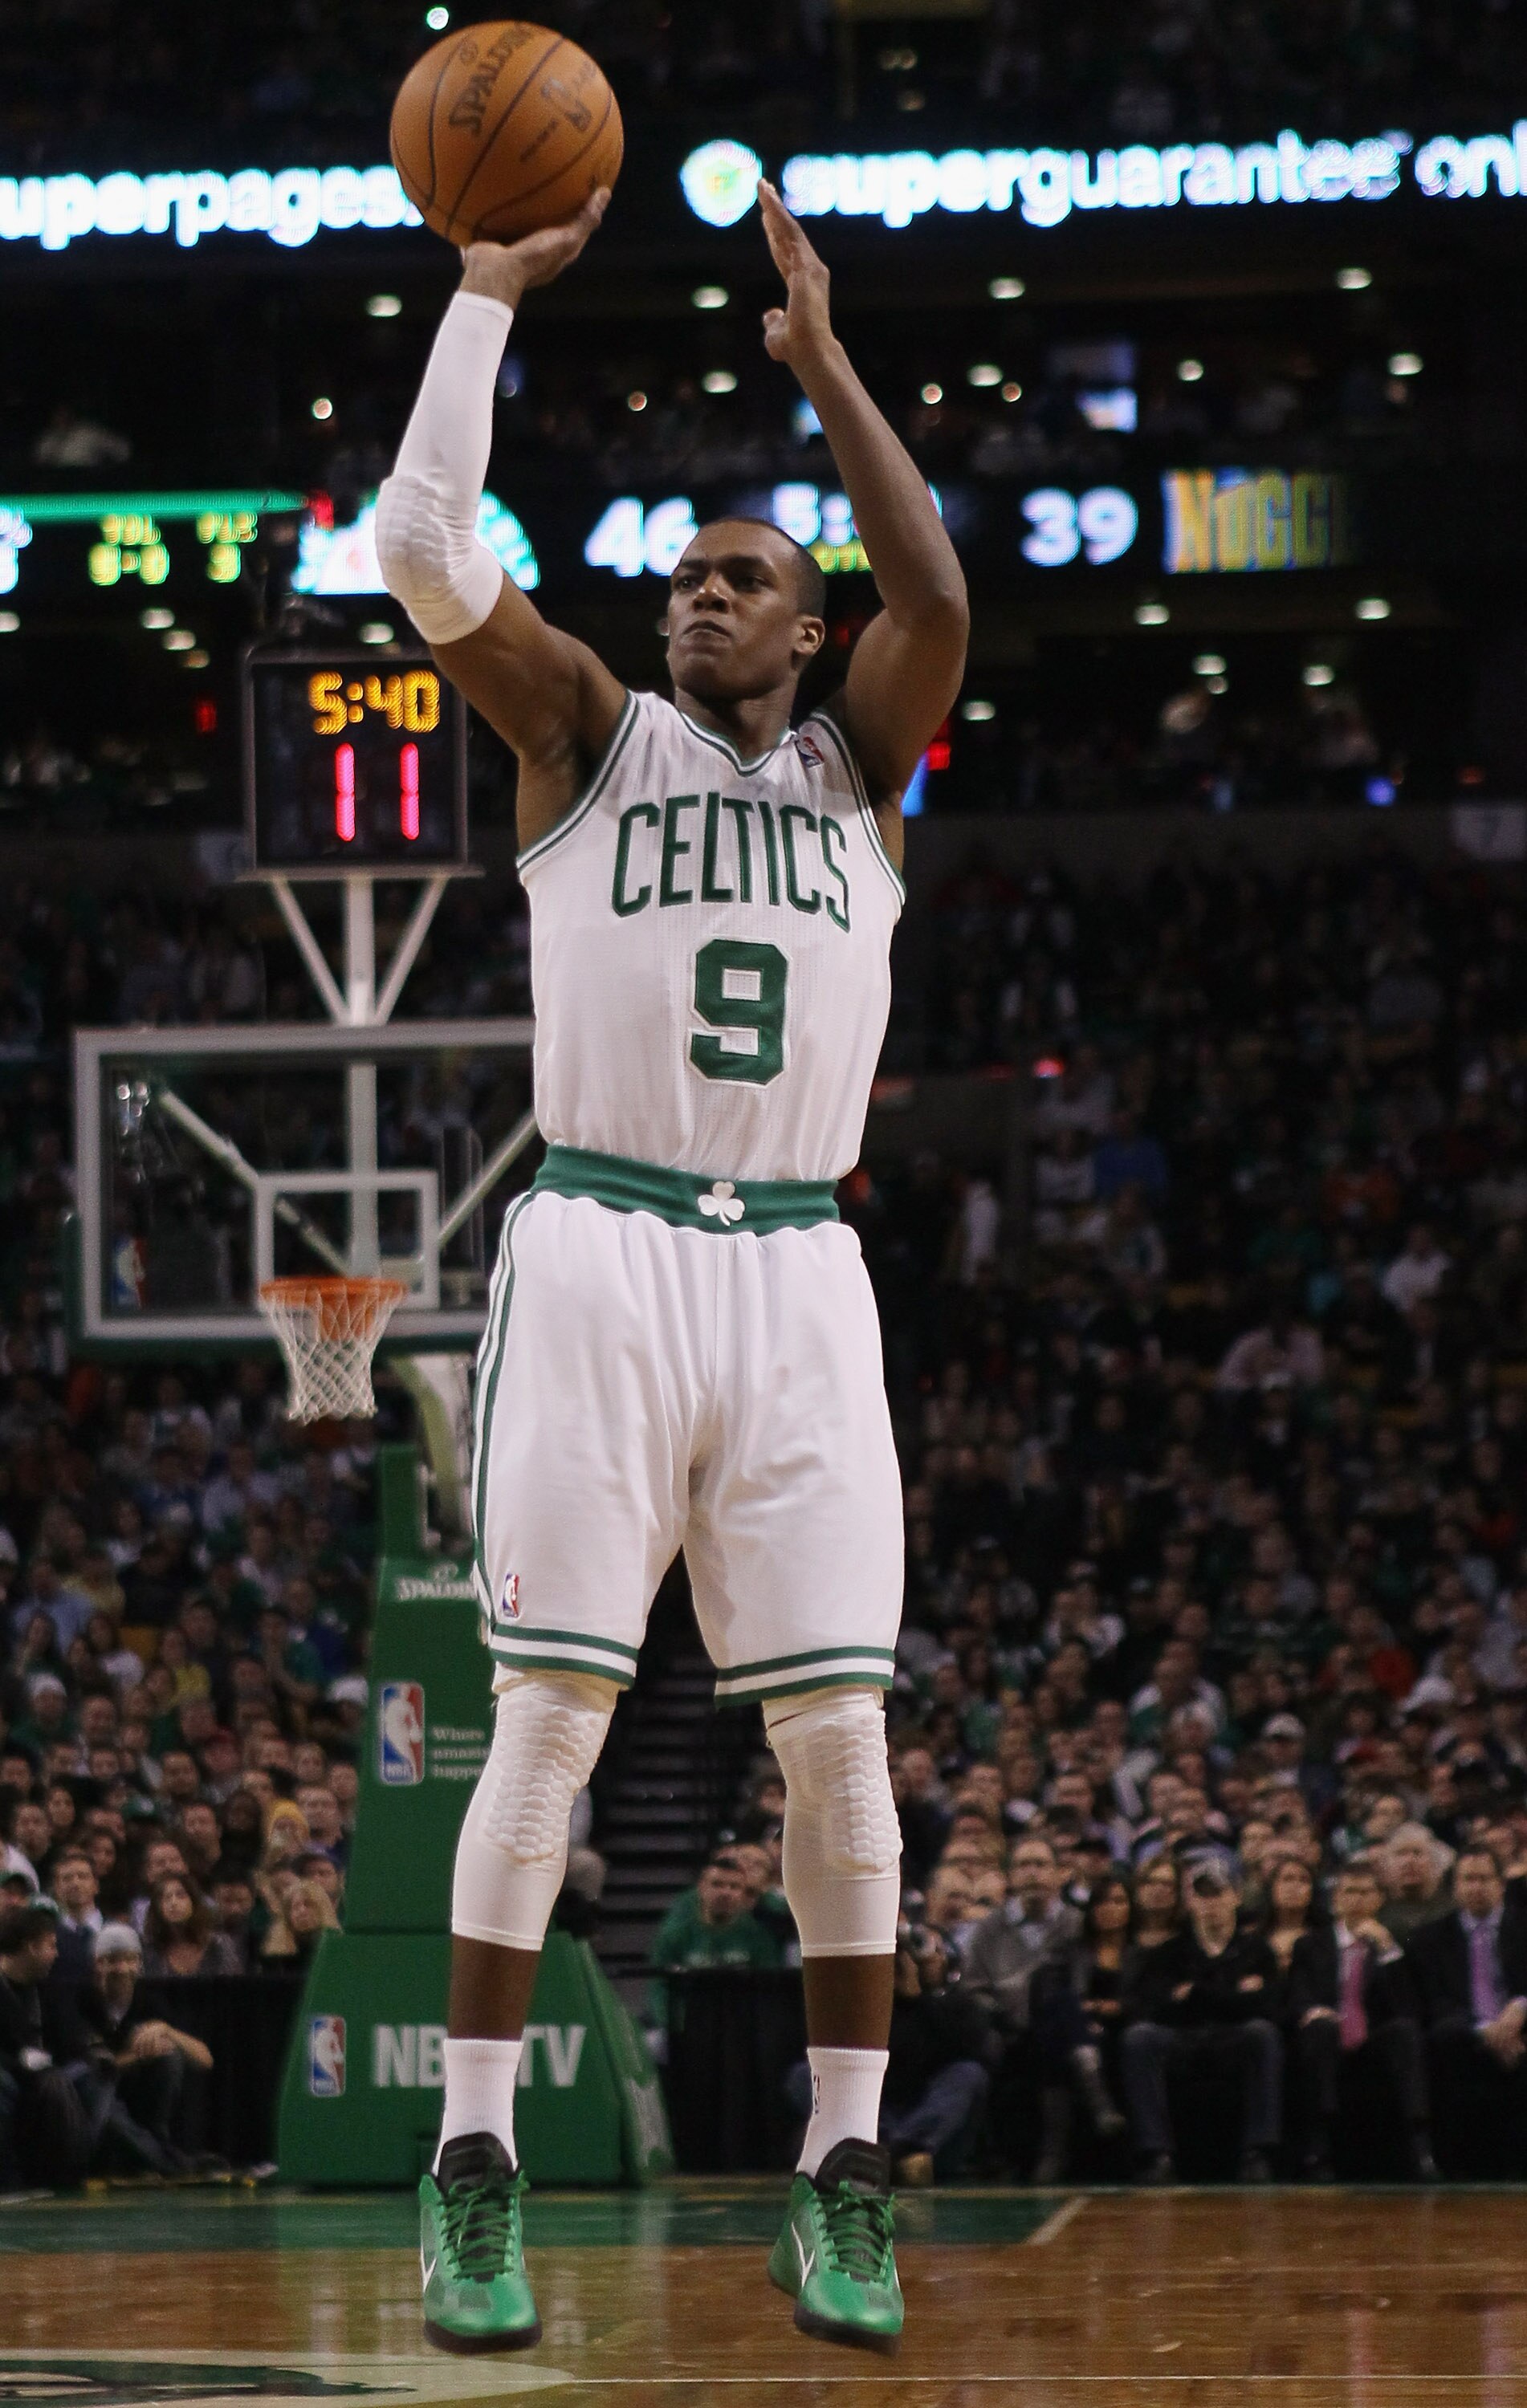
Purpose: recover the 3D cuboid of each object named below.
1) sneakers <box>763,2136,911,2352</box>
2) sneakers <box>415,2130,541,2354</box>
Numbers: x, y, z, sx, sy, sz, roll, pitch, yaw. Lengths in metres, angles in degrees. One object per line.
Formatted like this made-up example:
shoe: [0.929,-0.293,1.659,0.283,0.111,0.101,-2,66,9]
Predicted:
sneakers: [0.110,1.350,4.580,0.127,0.250,0.241,0,0,-4]
sneakers: [-0.360,1.333,4.525,0.149,0.267,0.262,0,0,-5]
